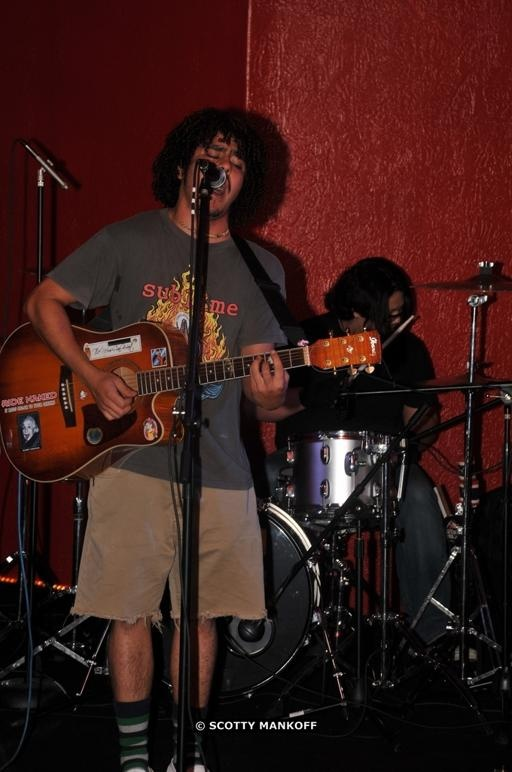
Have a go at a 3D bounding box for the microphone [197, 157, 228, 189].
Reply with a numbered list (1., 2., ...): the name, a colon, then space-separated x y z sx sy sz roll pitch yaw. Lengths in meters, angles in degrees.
1. microphone: -0.111 -0.520 1.879 0.054 0.078 0.138 3 3 7

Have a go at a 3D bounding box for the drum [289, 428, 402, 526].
1. drum: 0.369 0.357 3.031 0.393 0.281 0.380 1 -4 0

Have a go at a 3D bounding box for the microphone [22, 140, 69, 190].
1. microphone: -0.937 -0.952 3.310 0.059 0.112 0.312 6 -1 25
